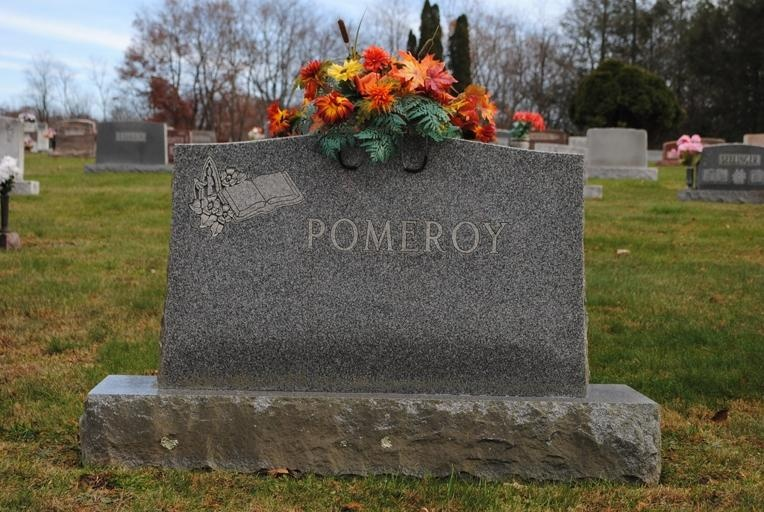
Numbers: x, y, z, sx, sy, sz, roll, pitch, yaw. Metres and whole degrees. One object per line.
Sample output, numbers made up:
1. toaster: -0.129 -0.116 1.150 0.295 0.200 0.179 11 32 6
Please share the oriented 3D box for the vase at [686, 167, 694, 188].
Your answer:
1. vase: 5.491 -1.396 18.794 0.128 0.372 0.399 3 8 13
